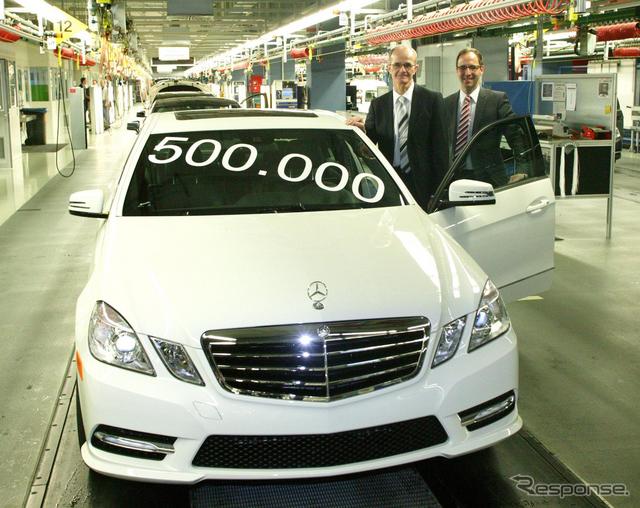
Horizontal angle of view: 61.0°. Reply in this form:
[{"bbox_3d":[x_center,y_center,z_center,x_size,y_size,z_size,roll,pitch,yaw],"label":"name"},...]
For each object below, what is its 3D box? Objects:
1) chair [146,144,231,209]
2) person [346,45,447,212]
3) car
[{"bbox_3d":[-0.838,-0.476,3.260,0.348,0.181,0.549,5,38,-14],"label":"chair"},{"bbox_3d":[0.667,-0.711,4.574,0.781,2.078,0.692,-1,2,22],"label":"person"},{"bbox_3d":[-0.246,0.031,2.724,1.941,1.323,2.104,-10,18,-32],"label":"car"}]
